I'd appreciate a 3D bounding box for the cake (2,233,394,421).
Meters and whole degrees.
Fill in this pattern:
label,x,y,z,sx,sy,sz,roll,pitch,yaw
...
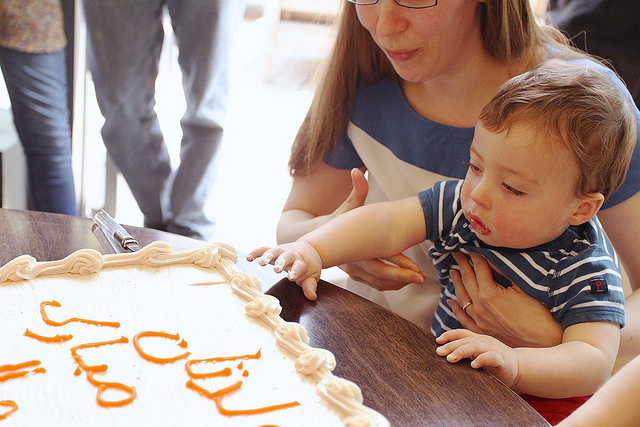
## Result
label,x,y,z,sx,sy,sz,roll,pitch,yaw
cake,-0.403,0.334,1.564,0.943,0.252,0.618,6,29,-15

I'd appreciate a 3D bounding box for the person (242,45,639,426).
label,x,y,z,sx,sy,sz,roll,pitch,yaw
person,0.410,0.073,1.809,0.744,1.155,0.737,-14,32,-39

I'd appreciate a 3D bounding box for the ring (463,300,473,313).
label,x,y,z,sx,sy,sz,roll,pitch,yaw
ring,0.475,0.299,1.883,0.021,0.054,0.013,31,33,32

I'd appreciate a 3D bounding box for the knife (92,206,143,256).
label,x,y,z,sx,sy,sz,roll,pitch,yaw
knife,-0.655,0.057,1.869,0.084,0.076,0.289,13,25,-42
